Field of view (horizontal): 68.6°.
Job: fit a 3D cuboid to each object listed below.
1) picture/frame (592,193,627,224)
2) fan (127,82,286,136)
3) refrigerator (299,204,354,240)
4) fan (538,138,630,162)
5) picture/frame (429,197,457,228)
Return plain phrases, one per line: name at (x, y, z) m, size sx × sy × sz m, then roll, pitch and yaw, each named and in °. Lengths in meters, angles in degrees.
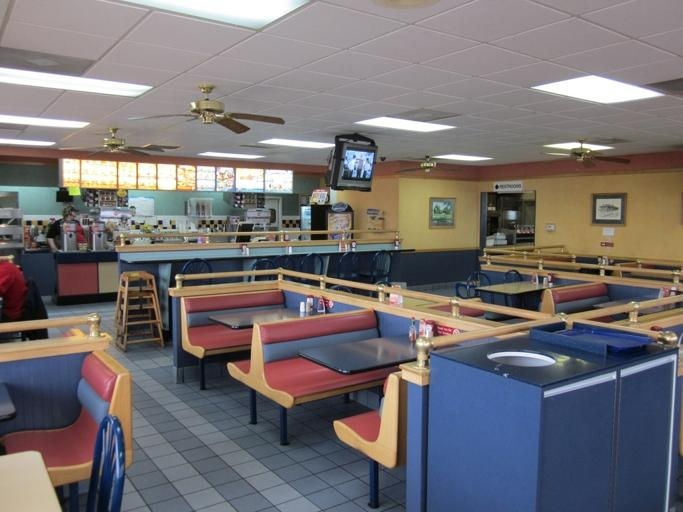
picture/frame at (5.386, -0.960, 9.987) m, size 0.069 × 0.682 × 0.808 m, roll 3°, pitch 1°, yaw -36°
fan at (-1.213, -1.512, 5.195) m, size 0.904 × 0.407 × 0.658 m, roll 8°, pitch 13°, yaw 40°
refrigerator at (-0.311, -0.799, 11.758) m, size 1.126 × 0.787 × 0.498 m, roll 19°, pitch -36°, yaw -16°
fan at (4.057, -1.779, 8.264) m, size 0.899 × 0.158 × 0.700 m, roll 4°, pitch -3°, yaw -1°
picture/frame at (2.362, -1.037, 11.831) m, size 1.065 × 0.731 × 0.037 m, roll 0°, pitch 2°, yaw -34°
